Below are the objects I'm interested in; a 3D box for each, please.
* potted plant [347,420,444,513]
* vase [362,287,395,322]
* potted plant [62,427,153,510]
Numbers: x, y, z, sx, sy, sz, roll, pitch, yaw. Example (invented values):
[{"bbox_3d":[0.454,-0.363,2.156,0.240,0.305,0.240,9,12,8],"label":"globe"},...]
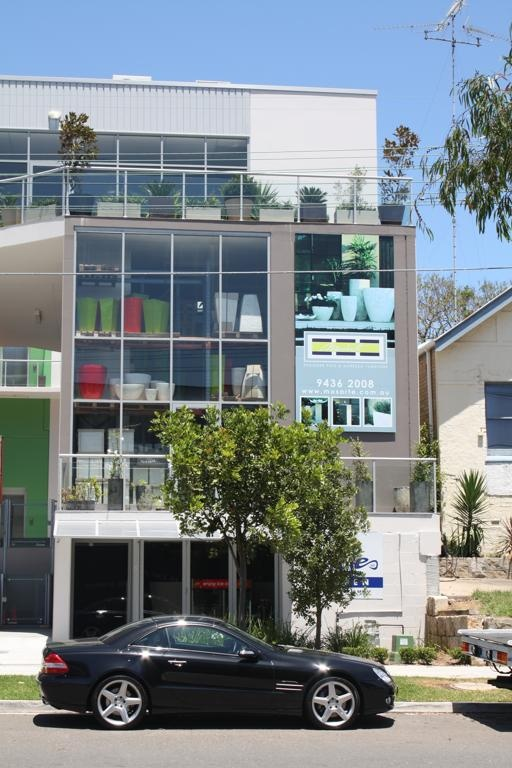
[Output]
[{"bbox_3d":[2.587,1.607,24.565,1.910,2.216,1.059,-1,-1,1],"label":"potted plant"},{"bbox_3d":[2.480,-1.596,26.313,0.640,0.709,0.620,1,-7,-5],"label":"vase"},{"bbox_3d":[-2.633,1.786,23.339,1.887,1.078,0.509,1,-10,-9],"label":"potted plant"}]
